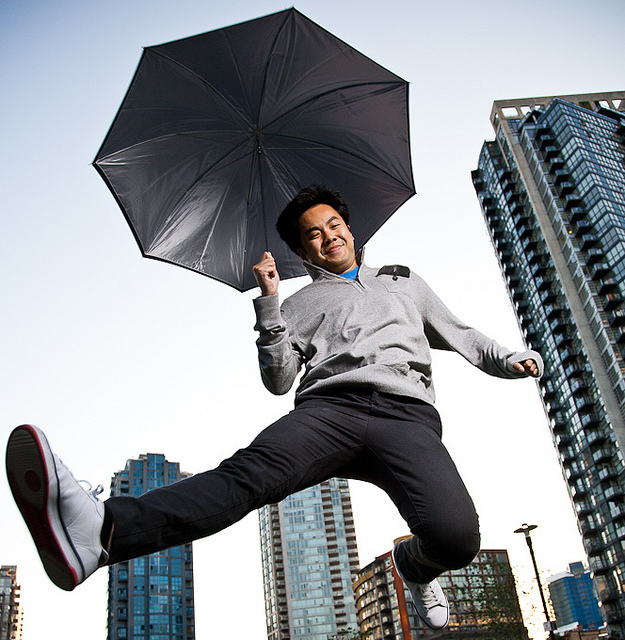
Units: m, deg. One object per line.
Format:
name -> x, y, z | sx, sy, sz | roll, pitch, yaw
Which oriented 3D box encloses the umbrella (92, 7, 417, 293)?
umbrella -> -0.536, -1.593, 5.730 | 2.730, 2.127, 1.352 | -14, -29, 7
